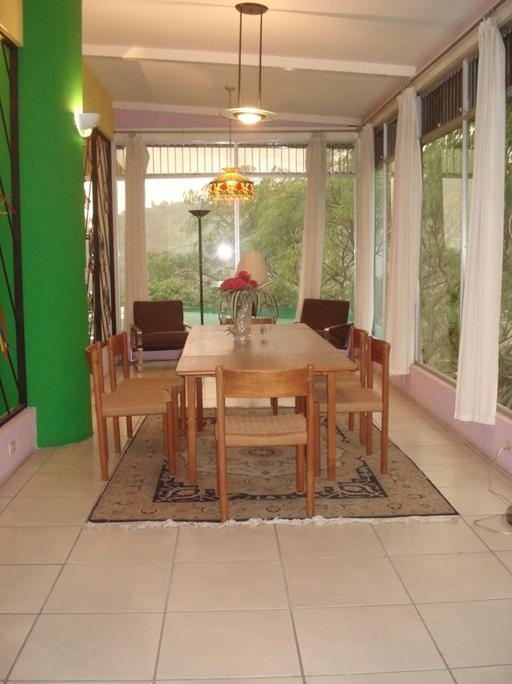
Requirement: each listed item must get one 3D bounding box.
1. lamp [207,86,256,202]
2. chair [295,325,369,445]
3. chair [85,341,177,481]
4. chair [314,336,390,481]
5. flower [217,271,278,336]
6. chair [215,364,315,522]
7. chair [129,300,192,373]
[{"bbox_3d":[-0.233,-1.730,4.644,0.376,0.905,0.393,1,4,31],"label":"lamp"},{"bbox_3d":[0.612,0.249,3.963,0.408,0.649,0.392,-13,9,-10],"label":"chair"},{"bbox_3d":[-0.746,0.426,3.316,0.522,0.746,0.526,0,6,6],"label":"chair"},{"bbox_3d":[0.608,0.376,3.680,0.375,0.840,1.034,0,7,0],"label":"chair"},{"bbox_3d":[-0.068,-0.268,3.873,0.456,0.500,0.413,7,5,-3],"label":"flower"},{"bbox_3d":[0.045,0.553,2.749,0.560,0.906,0.603,0,16,-1],"label":"chair"},{"bbox_3d":[-1.245,-0.075,6.819,0.710,0.909,0.834,-3,4,-11],"label":"chair"}]
